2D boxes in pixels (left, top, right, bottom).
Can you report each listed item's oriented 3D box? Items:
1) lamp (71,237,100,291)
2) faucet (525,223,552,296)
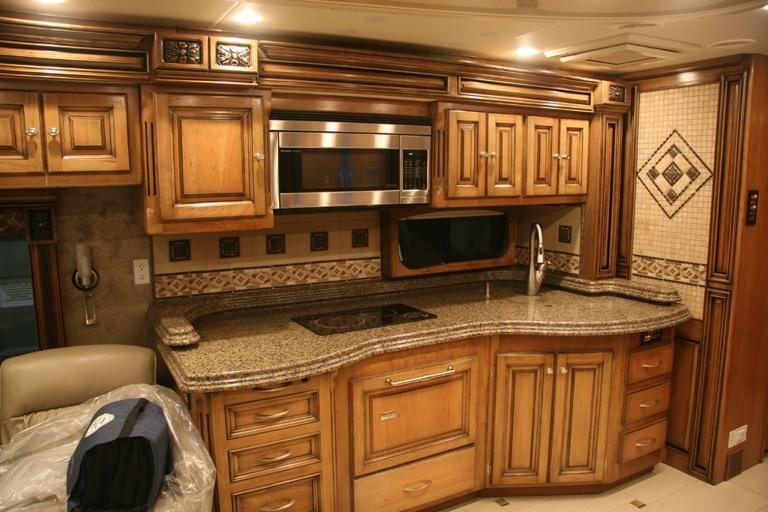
[{"bbox_3d":[-1.755,0.059,3.273,0.099,0.292,0.092,1,11,16],"label":"lamp"},{"bbox_3d":[1.106,0.012,4.028,0.133,0.505,0.279,1,11,15],"label":"faucet"}]
